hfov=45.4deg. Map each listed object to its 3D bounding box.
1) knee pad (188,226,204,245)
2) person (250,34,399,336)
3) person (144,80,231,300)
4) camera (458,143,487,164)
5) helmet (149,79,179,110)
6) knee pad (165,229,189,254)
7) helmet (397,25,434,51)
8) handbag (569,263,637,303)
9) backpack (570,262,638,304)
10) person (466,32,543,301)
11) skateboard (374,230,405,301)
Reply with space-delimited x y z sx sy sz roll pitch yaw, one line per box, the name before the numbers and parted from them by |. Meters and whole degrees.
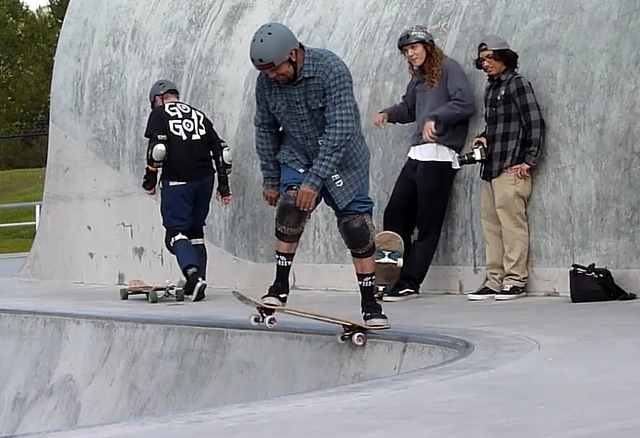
knee pad | -1.403 0.185 8.687 0.180 0.138 0.173 -2 -6 -37
person | -0.024 -0.285 6.118 1.030 2.257 0.744 2 2 -2
person | -1.454 -0.240 8.426 0.934 2.120 0.703 1 2 -11
camera | 1.457 -0.614 7.393 0.199 0.077 0.206 -23 11 7
helmet | -1.767 -1.441 8.689 0.267 0.340 0.497 1 2 -29
knee pad | -1.592 0.219 8.383 0.202 0.145 0.274 10 -29 -2
helmet | 0.939 -1.808 7.565 0.325 0.264 0.200 2 2 4
handbag | 2.523 0.569 6.870 0.475 0.241 0.349 0 -6 7
backpack | 2.531 0.571 6.872 0.482 0.238 0.358 1 -5 3
person | 1.792 -0.491 7.404 0.655 2.543 0.416 2 2 11
skateboard | 0.682 0.441 7.794 0.296 0.831 0.326 3 19 13
